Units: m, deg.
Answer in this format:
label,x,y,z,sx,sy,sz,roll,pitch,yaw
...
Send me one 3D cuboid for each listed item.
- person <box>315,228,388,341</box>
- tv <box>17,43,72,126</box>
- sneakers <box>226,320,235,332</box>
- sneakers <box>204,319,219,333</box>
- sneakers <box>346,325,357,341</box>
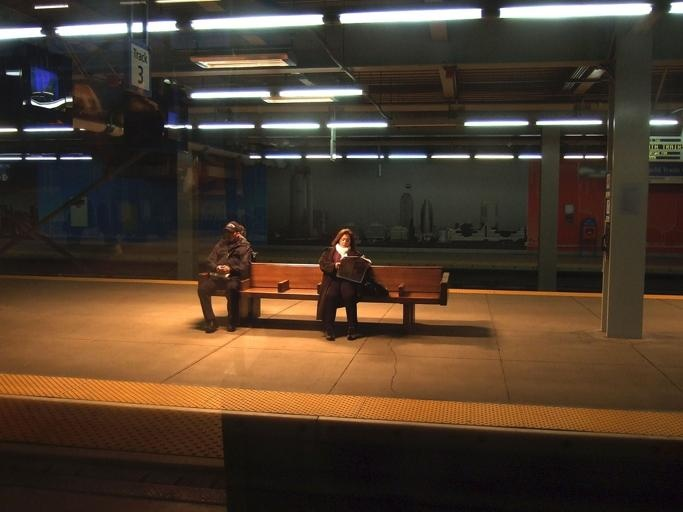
label,x,y,z,sx,sy,sz,roll,pitch,yaw
person,0.030,0.425,9.117,0.776,1.460,0.914,9,15,41
tv,-4.778,-2.535,10.133,0.769,1.221,0.749,-8,-16,-11
sneakers,-1.664,1.051,9.441,0.152,0.128,0.287,-3,12,-10
sneakers,-1.994,1.047,9.478,0.201,0.203,0.402,-4,12,-15
sneakers,0.172,1.087,9.001,0.164,0.190,0.386,0,11,3
